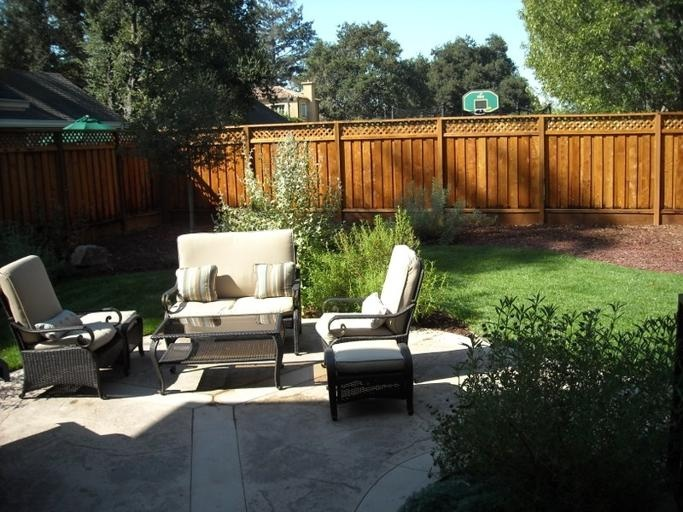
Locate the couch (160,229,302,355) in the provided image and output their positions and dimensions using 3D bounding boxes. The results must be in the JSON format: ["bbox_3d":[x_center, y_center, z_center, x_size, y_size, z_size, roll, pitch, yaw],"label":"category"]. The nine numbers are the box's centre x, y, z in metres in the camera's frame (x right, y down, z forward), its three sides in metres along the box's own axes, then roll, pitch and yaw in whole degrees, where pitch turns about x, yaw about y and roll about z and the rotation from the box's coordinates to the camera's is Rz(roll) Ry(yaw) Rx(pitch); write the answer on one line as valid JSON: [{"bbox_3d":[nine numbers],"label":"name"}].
[{"bbox_3d":[-1.355,0.504,6.906,1.519,1.580,1.611,5,9,-6],"label":"couch"}]

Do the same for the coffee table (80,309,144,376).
[{"bbox_3d":[-2.532,0.927,6.163,0.553,0.497,0.728,-1,5,3],"label":"coffee table"}]

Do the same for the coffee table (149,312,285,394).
[{"bbox_3d":[-1.311,0.977,5.896,1.361,0.782,1.446,8,7,-8],"label":"coffee table"}]

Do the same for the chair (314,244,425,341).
[{"bbox_3d":[0.279,0.325,5.844,1.004,1.346,0.919,0,3,-6],"label":"chair"}]

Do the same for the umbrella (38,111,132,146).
[{"bbox_3d":[-6.116,-2.997,12.731,1.262,0.658,3.122,-7,14,-18],"label":"umbrella"}]
